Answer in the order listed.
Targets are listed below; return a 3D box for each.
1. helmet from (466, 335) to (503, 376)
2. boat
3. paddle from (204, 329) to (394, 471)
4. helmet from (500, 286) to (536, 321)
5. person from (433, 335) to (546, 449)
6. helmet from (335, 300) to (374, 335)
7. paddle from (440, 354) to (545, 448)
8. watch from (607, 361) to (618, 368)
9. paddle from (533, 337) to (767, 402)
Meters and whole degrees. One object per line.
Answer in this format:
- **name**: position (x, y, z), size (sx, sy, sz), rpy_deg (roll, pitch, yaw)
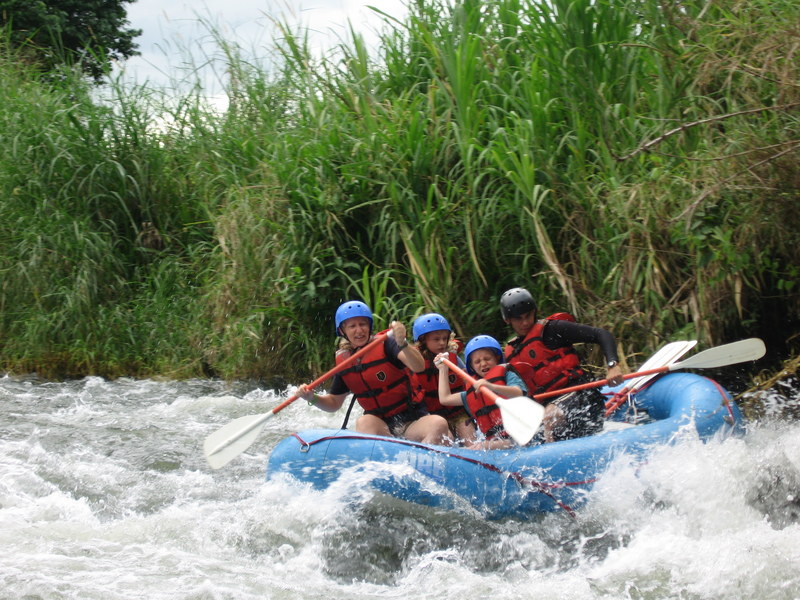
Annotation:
- **helmet**: position (0.591, 0.302, 6.991), size (0.252, 0.281, 0.345), rpy_deg (-8, 18, 1)
- **boat**: position (0.898, 0.978, 6.189), size (1.999, 0.401, 1.368), rpy_deg (-11, 0, -17)
- **paddle**: position (-0.753, 0.779, 7.480), size (1.457, 0.254, 0.062), rpy_deg (-39, -24, -3)
- **helmet**: position (0.833, 0.015, 6.919), size (0.183, 0.240, 0.234), rpy_deg (-12, 11, -9)
- **person**: position (0.654, 0.797, 6.694), size (0.529, 1.151, 1.040), rpy_deg (-16, -5, 2)
- **helmet**: position (-0.347, 0.118, 7.093), size (0.202, 0.221, 0.260), rpy_deg (-1, -4, -19)
- **paddle**: position (0.622, 0.635, 6.431), size (0.043, 0.271, 0.870), rpy_deg (23, 12, -43)
- **watch**: position (1.460, 0.436, 6.555), size (0.058, 0.050, 0.052), rpy_deg (0, 12, 10)
- **paddle**: position (1.832, 0.498, 6.874), size (1.369, 0.165, 0.066), rpy_deg (-16, -23, 7)
